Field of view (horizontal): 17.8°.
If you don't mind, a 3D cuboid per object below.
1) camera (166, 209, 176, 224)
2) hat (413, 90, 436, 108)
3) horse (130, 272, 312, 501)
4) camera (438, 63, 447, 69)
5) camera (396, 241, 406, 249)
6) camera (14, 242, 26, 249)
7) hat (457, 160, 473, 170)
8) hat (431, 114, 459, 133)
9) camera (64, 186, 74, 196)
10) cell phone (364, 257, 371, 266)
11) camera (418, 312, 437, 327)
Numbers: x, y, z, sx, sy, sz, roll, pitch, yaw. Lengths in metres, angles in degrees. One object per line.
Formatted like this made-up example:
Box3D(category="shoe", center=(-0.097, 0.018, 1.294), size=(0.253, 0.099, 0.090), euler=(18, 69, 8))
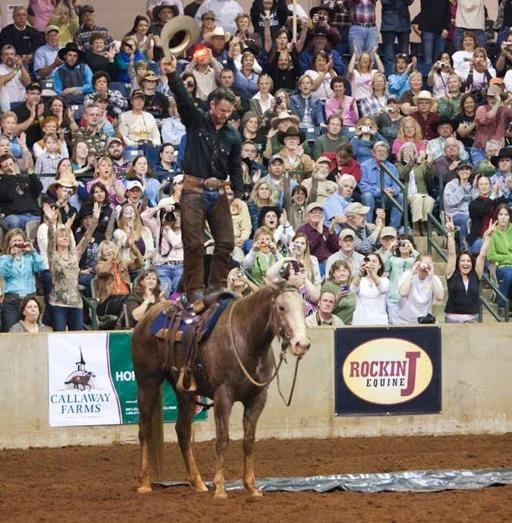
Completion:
Box3D(category="camera", center=(-1.396, -0.724, 26.488), size=(0.132, 0.204, 0.186), euler=(10, 48, 4))
Box3D(category="hat", center=(3.259, -3.070, 31.404), size=(0.412, 0.298, 0.707), euler=(-3, 3, 7))
Box3D(category="horse", center=(-0.535, 1.721, 22.301), size=(3.136, 3.002, 1.013), euler=(-2, 1, 42))
Box3D(category="camera", center=(3.780, -3.888, 32.953), size=(0.205, 0.185, 0.080), euler=(-5, 5, -12))
Box3D(category="camera", center=(2.406, -0.308, 27.043), size=(0.048, 0.110, 0.199), euler=(-4, 3, -26))
Box3D(category="camera", center=(-3.763, -0.264, 25.900), size=(0.147, 0.111, 0.072), euler=(-4, 3, -8))
Box3D(category="hat", center=(3.768, -1.703, 29.395), size=(0.267, 0.155, 0.437), euler=(-3, 3, 8))
Box3D(category="hat", center=(3.584, -2.565, 30.856), size=(0.507, 0.317, 0.533), euler=(-3, 3, 1))
Box3D(category="camera", center=(-3.130, -1.172, 27.312), size=(0.080, 0.131, 0.035), euler=(16, -25, -24))
Box3D(category="cell phone", center=(1.793, -0.010, 26.188), size=(0.119, 0.025, 0.244), euler=(-1, 49, 9))
Box3D(category="camera", center=(2.766, 0.899, 26.314), size=(0.283, 0.157, 0.512), euler=(-3, 3, 6))
